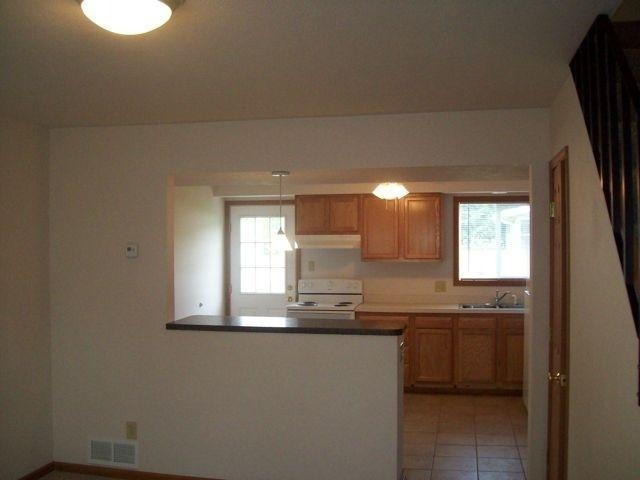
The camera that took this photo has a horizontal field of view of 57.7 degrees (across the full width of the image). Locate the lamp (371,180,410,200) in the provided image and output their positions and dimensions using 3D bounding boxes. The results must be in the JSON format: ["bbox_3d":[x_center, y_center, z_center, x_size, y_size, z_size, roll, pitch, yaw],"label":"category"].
[{"bbox_3d":[0.751,-0.523,6.313,0.309,0.216,0.092,-1,16,-1],"label":"lamp"}]

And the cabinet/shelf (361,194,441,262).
[{"bbox_3d":[0.963,-0.197,6.882,0.946,0.838,0.359,1,22,9],"label":"cabinet/shelf"}]

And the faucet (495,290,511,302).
[{"bbox_3d":[2.119,0.668,6.791,0.161,0.136,0.076,1,5,-27],"label":"faucet"}]

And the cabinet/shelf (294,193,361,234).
[{"bbox_3d":[0.096,-0.304,6.858,0.763,0.500,0.143,3,5,-1],"label":"cabinet/shelf"}]

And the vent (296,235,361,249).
[{"bbox_3d":[0.085,0.017,6.851,0.783,0.197,0.138,4,5,10],"label":"vent"}]
